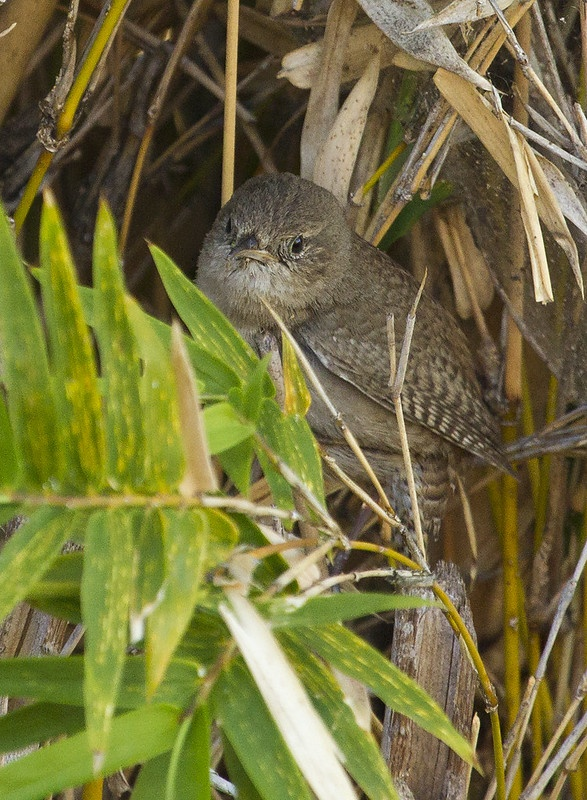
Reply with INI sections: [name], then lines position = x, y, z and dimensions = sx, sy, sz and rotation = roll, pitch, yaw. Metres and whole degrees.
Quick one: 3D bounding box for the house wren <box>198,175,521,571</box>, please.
[house wren]
position = 0.150, -0.100, 2.762
dimensions = 0.919, 0.596, 0.536
rotation = 25, 35, -7
